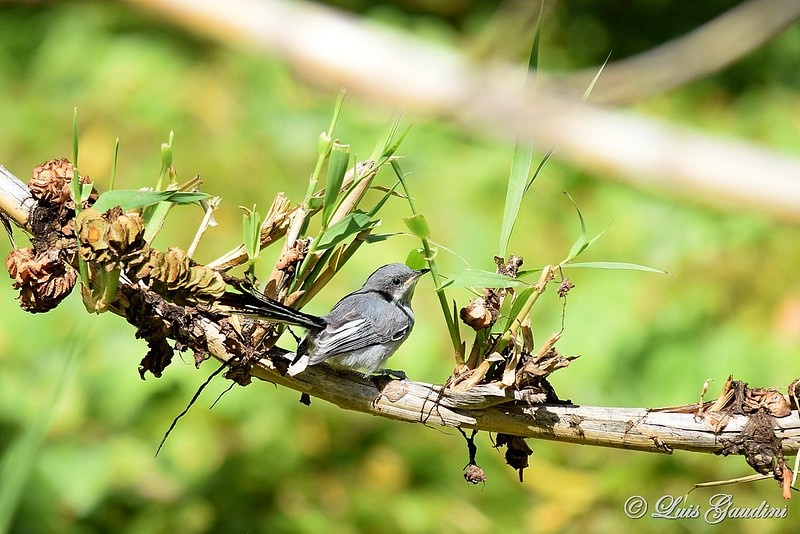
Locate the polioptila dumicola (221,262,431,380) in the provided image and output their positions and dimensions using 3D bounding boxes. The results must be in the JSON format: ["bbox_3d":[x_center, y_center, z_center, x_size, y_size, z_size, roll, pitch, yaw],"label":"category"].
[{"bbox_3d":[-0.401,0.282,4.487,1.218,0.556,0.369,2,-8,-37],"label":"polioptila dumicola"}]
